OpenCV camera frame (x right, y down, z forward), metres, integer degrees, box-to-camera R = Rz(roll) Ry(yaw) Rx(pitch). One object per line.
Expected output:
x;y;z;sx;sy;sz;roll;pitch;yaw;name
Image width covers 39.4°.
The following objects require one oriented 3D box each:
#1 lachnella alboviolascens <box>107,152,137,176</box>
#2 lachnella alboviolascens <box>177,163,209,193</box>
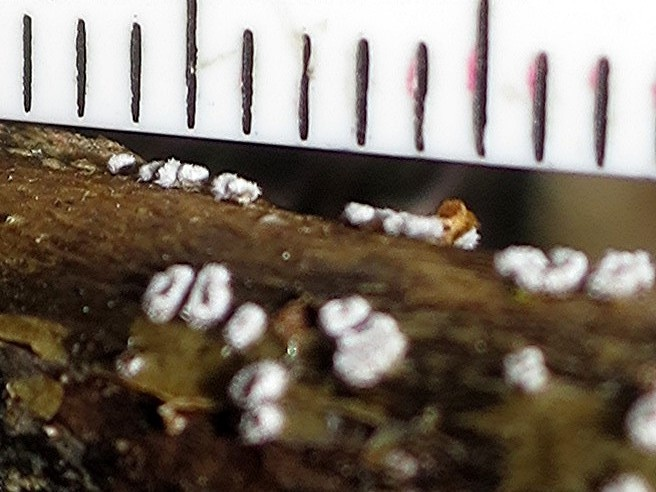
-0.552;-0.221;2.468;0.083;0.049;0.040;-2;17;-14;lachnella alboviolascens
-0.359;-0.182;2.450;0.085;0.058;0.047;0;17;-9;lachnella alboviolascens
